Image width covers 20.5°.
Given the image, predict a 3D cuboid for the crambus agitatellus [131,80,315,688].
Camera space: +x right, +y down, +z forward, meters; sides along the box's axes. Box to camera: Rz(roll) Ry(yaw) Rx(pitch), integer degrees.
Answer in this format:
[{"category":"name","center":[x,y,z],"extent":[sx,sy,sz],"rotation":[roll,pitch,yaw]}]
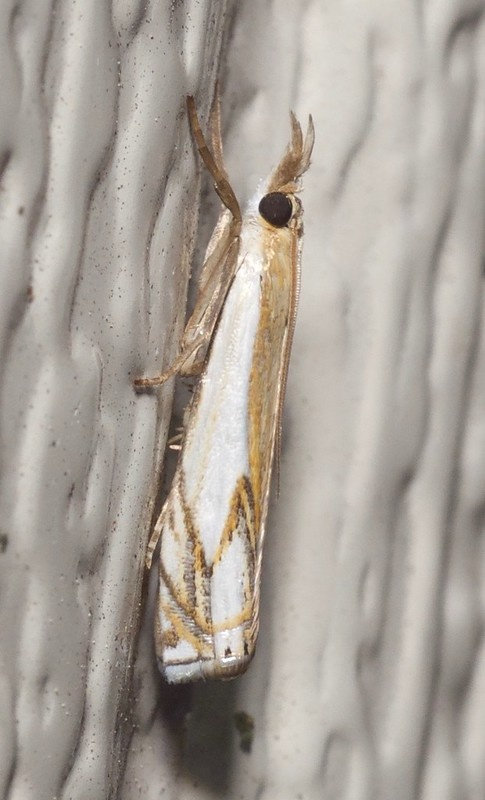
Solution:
[{"category":"crambus agitatellus","center":[-0.016,-0.003,1.002],"extent":[0.056,0.133,0.443],"rotation":[-2,84,38]}]
